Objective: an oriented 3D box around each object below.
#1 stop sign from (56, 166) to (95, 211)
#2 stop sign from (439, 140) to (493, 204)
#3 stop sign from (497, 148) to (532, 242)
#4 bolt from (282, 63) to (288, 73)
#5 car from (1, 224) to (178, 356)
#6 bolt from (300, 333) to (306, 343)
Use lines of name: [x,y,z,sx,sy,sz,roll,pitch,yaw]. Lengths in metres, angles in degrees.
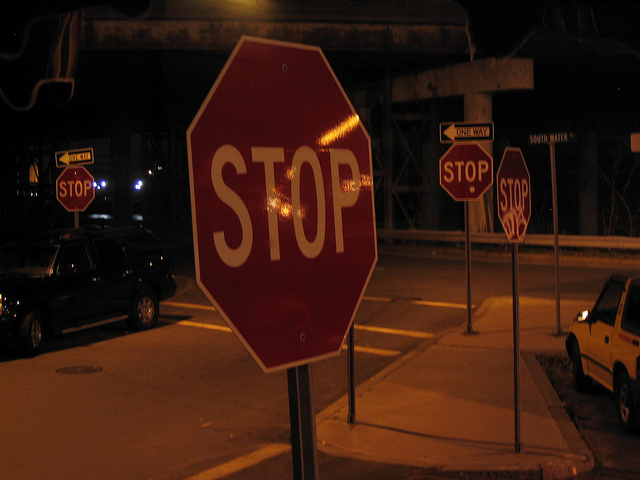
stop sign: [-6.244,-1.308,17.858,1.184,1.122,0.458,2,6,28]
stop sign: [2.812,-1.309,13.446,0.986,1.408,0.077,1,44,14]
stop sign: [2.476,-0.572,8.922,0.164,1.174,0.678,4,7,43]
bolt: [-0.238,-1.179,4.811,0.011,0.045,0.039,-2,-25,26]
car: [-5.126,0.881,14.423,1.660,1.993,3.100,-1,0,39]
bolt: [-0.117,0.667,4.749,0.036,0.070,0.009,0,-3,-27]
